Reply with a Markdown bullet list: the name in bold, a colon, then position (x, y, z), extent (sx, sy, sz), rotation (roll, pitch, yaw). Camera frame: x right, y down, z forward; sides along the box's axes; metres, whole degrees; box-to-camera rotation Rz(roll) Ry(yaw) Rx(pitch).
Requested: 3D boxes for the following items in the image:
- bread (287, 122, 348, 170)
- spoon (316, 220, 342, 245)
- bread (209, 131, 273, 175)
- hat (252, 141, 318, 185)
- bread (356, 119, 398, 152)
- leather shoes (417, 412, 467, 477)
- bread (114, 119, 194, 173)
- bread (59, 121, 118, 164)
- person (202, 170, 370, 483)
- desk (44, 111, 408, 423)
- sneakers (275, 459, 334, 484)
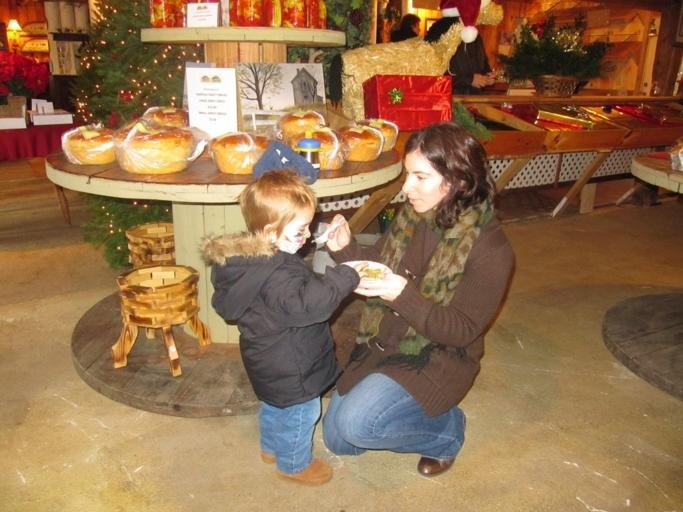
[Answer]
- **bread**: position (-0.116, -0.509, 2.162), extent (0.214, 0.182, 0.211), rotation (5, 20, 11)
- **spoon**: position (-0.065, -0.122, 2.255), extent (0.028, 0.117, 0.067), rotation (40, 1, 21)
- **bread**: position (-0.436, -0.442, 2.095), extent (0.212, 0.120, 0.207), rotation (-4, 13, -16)
- **hat**: position (-0.222, -0.373, 1.958), extent (0.208, 0.178, 0.066), rotation (34, -6, 2)
- **bread**: position (0.227, -0.651, 2.621), extent (0.191, 0.121, 0.196), rotation (0, 15, 0)
- **leather shoes**: position (0.537, 0.932, 2.419), extent (0.129, 0.149, 0.391), rotation (2, 5, 38)
- **bread**: position (-0.804, -0.447, 2.083), extent (0.252, 0.150, 0.246), rotation (-6, 12, -34)
- **bread**: position (-1.128, -0.502, 2.190), extent (0.198, 0.147, 0.246), rotation (-17, 31, -36)
- **person**: position (-0.255, 0.318, 2.126), extent (0.609, 1.374, 0.387), rotation (14, 28, 26)
- **desk**: position (-0.571, 0.015, 2.702), extent (1.672, 0.964, 1.612), rotation (-11, 30, -31)
- **sneakers**: position (-0.173, 0.972, 2.226), extent (0.190, 0.067, 0.108), rotation (-2, 21, 2)
